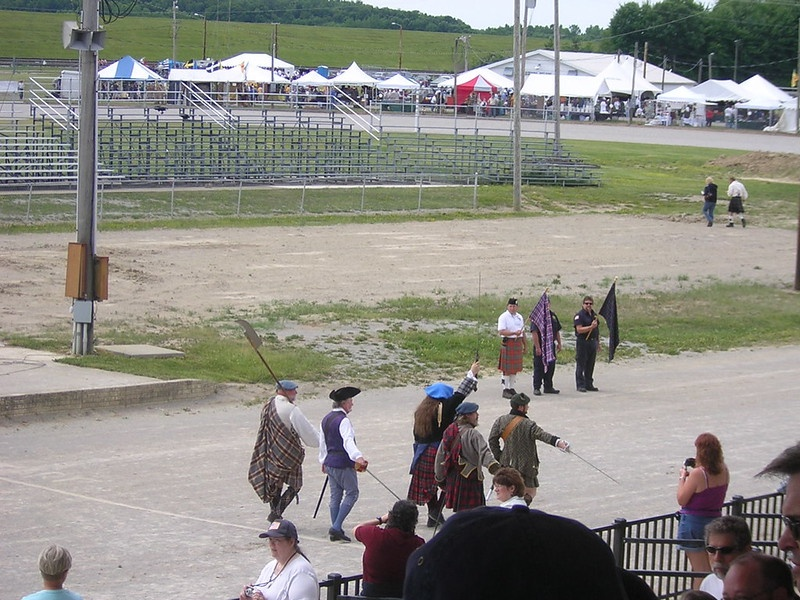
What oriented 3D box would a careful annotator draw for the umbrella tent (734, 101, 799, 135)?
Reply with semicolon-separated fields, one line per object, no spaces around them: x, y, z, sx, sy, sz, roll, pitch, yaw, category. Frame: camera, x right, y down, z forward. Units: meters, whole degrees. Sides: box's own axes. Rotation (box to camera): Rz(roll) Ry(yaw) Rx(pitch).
30.513;-14.803;173.219;3.207;2.198;3.082;1;4;11;umbrella tent

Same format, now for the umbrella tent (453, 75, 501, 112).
5.570;-15.875;169.513;3.946;1.645;3.595;-3;10;-14;umbrella tent

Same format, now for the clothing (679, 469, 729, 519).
12.935;8.223;91.269;1.994;2.081;1.253;9;8;-9;clothing

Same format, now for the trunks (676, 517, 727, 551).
12.782;9.818;90.053;1.807;1.472;0.967;4;4;16;trunks

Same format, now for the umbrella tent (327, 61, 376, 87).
-3.291;-16.288;158.153;3.029;1.266;2.830;2;10;14;umbrella tent

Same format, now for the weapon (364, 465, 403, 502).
-0.776;8.130;94.478;2.405;0.206;0.360;39;0;6;weapon

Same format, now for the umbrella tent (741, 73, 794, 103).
30.009;-17.035;174.915;2.986;1.088;3.696;9;6;35;umbrella tent

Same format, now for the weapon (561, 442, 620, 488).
8.472;7.432;95.546;3.707;0.482;0.622;25;-8;11;weapon

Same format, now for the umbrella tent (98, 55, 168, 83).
-17.369;-14.952;140.899;4.003;1.494;5.135;1;3;25;umbrella tent

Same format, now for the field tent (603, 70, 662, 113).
18.428;-16.792;174.618;5.402;1.525;5.058;4;14;17;field tent

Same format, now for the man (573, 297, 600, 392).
8.765;2.075;100.785;1.160;4.396;0.976;2;8;4;man

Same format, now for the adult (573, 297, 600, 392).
8.770;2.081;100.733;1.181;4.396;0.874;2;8;4;adult

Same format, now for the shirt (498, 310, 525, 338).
5.093;1.124;100.196;1.804;1.266;0.914;0;-6;-11;shirt

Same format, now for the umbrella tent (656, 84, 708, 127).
23.488;-16.303;182.696;5.285;2.077;5.037;2;-4;23;umbrella tent
